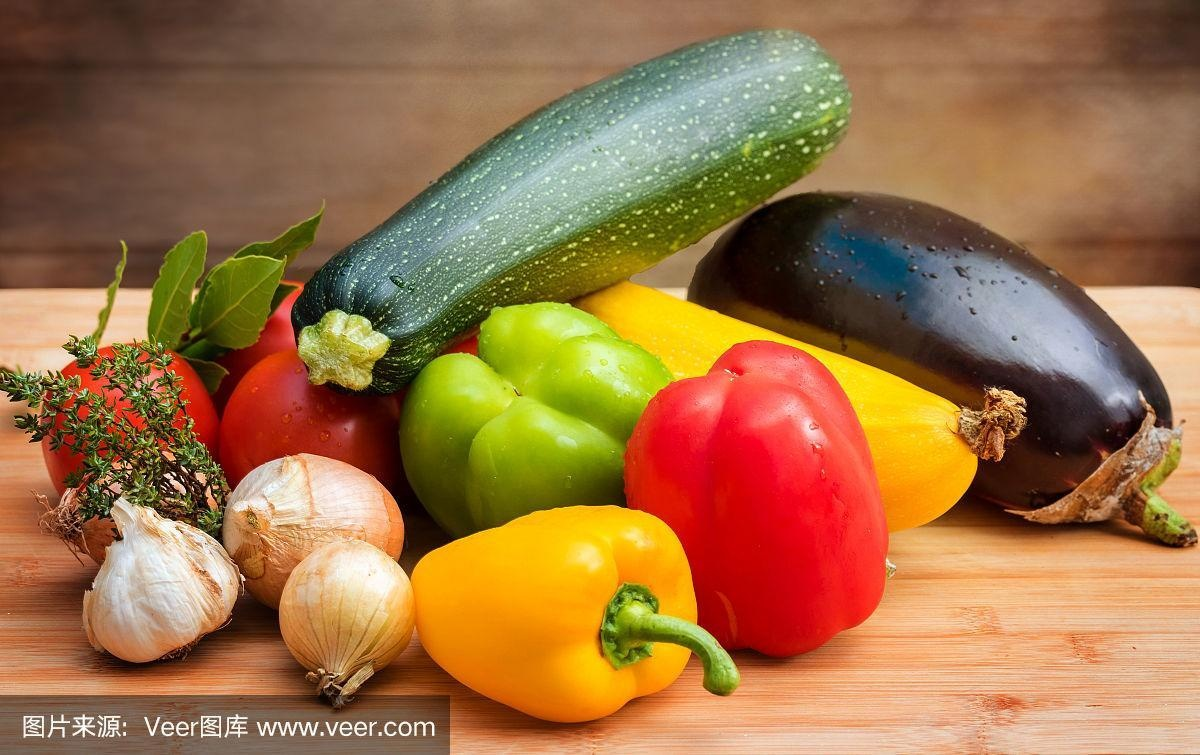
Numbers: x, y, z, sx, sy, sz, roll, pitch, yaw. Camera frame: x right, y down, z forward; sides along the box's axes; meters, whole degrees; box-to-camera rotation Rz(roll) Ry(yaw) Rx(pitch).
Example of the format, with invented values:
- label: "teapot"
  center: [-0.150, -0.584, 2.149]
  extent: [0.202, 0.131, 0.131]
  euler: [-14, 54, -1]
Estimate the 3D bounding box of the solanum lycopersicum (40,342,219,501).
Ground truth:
- label: "solanum lycopersicum"
  center: [-0.740, 0.032, 1.883]
  extent: [0.278, 0.286, 0.256]
  euler: [-4, 14, -11]
